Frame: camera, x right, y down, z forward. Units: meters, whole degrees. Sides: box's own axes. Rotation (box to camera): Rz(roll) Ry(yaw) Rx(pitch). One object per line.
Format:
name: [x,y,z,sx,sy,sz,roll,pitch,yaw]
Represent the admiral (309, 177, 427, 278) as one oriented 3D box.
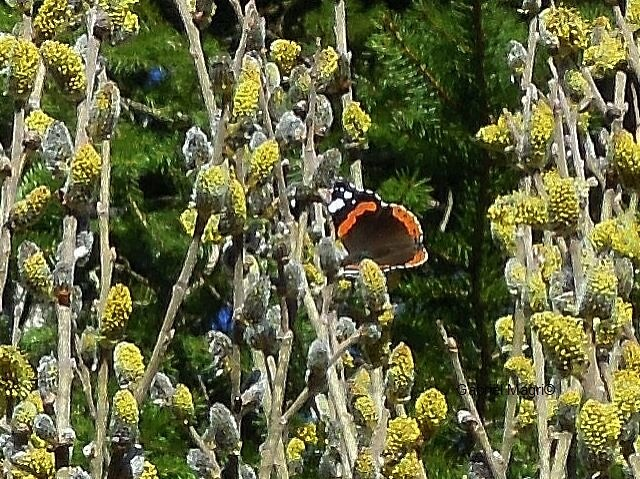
admiral: [0.084,-0.013,2.524,0.136,0.112,0.166,-3,34,-3]
